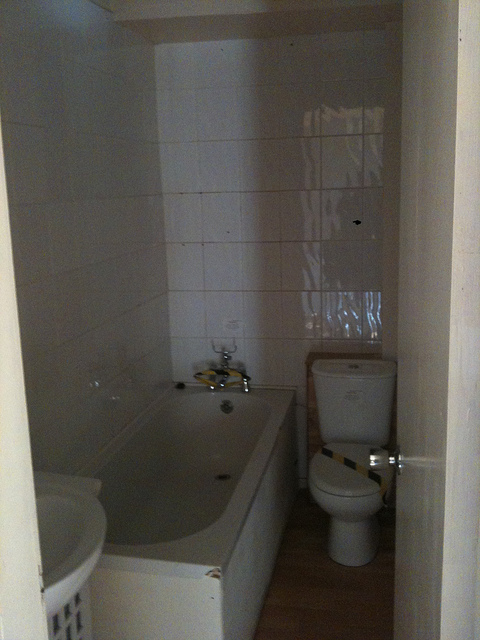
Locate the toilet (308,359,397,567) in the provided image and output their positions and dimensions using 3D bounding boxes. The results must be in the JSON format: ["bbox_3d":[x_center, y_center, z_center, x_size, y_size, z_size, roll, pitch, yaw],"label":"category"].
[{"bbox_3d":[0.555,0.681,2.727,0.418,0.843,0.667,-1,11,17],"label":"toilet"}]
